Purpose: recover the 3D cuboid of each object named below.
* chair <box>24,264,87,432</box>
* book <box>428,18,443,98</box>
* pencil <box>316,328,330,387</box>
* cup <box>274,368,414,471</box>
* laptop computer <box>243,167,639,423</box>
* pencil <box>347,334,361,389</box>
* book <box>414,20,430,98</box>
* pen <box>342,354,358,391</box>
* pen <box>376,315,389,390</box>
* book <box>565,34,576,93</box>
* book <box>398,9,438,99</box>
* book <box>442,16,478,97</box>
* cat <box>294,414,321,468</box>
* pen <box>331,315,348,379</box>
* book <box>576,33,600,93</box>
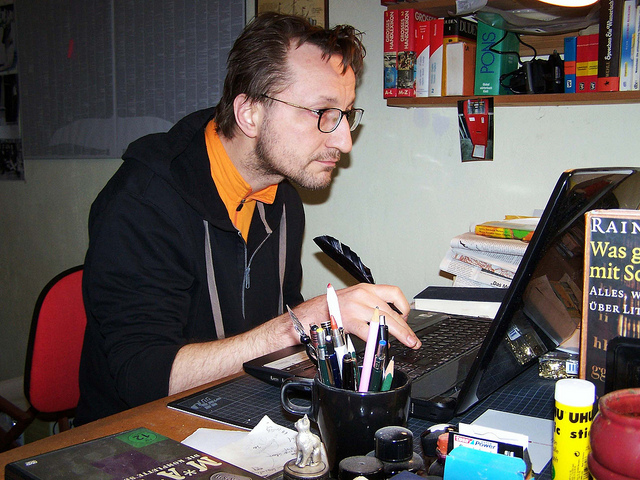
[{"bbox_3d":[-0.809,0.309,1.565,0.208,0.545,0.208,-12,20,-39],"label":"chair"},{"bbox_3d":[0.398,-0.628,1.719,0.054,0.255,0.033,5,9,24],"label":"book"},{"bbox_3d":[0.009,0.152,0.627,0.016,0.088,0.017,-11,21,-7],"label":"pencil"},{"bbox_3d":[0.035,0.212,0.670,0.157,0.117,0.111,0,5,25],"label":"cup"},{"bbox_3d":[0.201,0.058,0.997,0.527,0.435,0.681,5,8,26],"label":"laptop computer"},{"bbox_3d":[0.043,0.154,0.634,0.008,0.073,0.010,-2,2,35],"label":"pencil"},{"bbox_3d":[0.360,-0.651,1.746,0.079,0.234,0.232,1,9,12],"label":"book"},{"bbox_3d":[0.037,0.164,0.625,0.018,0.075,0.020,31,54,32],"label":"pen"},{"bbox_3d":[0.082,0.133,0.642,0.013,0.071,0.013,-4,-22,-4],"label":"pen"},{"bbox_3d":[0.767,-0.539,1.524,0.037,0.161,0.024,6,10,28],"label":"book"},{"bbox_3d":[0.349,-0.671,1.748,0.086,0.288,0.284,2,4,18],"label":"book"},{"bbox_3d":[0.478,-0.631,1.685,0.068,0.214,0.216,5,19,21],"label":"book"},{"bbox_3d":[-0.012,0.221,0.545,0.032,0.054,0.022,2,-4,-24],"label":"cat"},{"bbox_3d":[0.020,0.138,0.629,0.013,0.071,0.010,8,-35,-45],"label":"pen"},{"bbox_3d":[0.805,-0.531,1.493,0.070,0.171,0.029,8,11,36],"label":"book"}]
